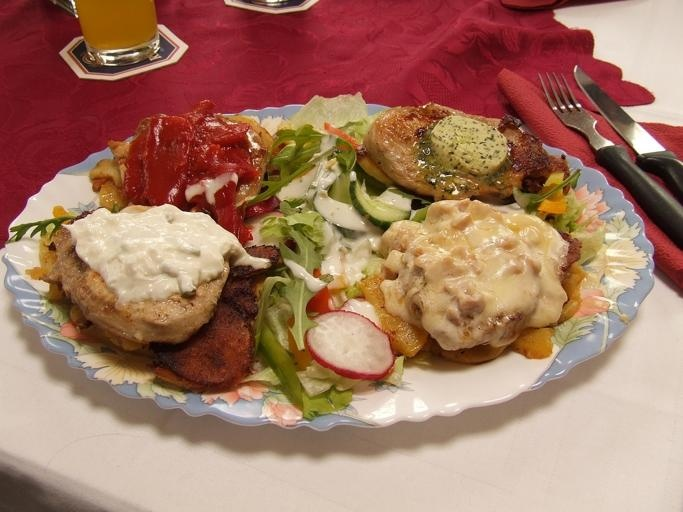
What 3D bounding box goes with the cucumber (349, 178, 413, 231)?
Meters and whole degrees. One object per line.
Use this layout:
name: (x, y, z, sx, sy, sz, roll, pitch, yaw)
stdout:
cucumber: (0.223, -0.290, 3.755, 0.438, 0.145, 0.251, 39, 46, 24)
